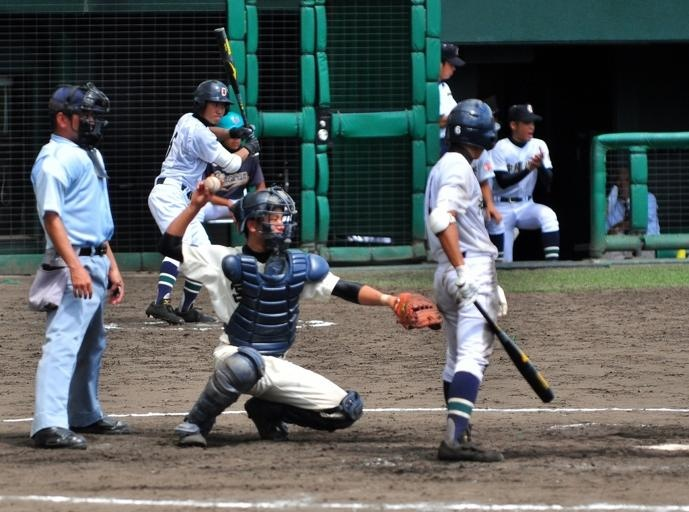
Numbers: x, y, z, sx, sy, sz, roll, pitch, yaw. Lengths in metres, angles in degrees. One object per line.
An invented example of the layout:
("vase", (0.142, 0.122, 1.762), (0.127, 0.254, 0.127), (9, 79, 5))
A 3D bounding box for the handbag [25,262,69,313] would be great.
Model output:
("handbag", (-2.179, 0.223, 9.186), (0.278, 0.353, 0.154), (3, 13, 14))

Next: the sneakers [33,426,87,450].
("sneakers", (-2.069, 1.325, 9.157), (0.361, 0.108, 0.166), (1, 3, 6))

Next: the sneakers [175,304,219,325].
("sneakers", (-1.539, 0.603, 13.124), (0.495, 0.192, 0.164), (2, 28, -21))

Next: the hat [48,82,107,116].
("hat", (-1.989, -1.198, 9.443), (0.360, 0.179, 0.248), (-2, 5, -2))

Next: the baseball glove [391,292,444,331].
("baseball glove", (0.523, 0.363, 9.360), (0.417, 0.197, 0.569), (-8, 15, -13))

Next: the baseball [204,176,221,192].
("baseball", (-0.975, -0.551, 9.311), (0.117, 0.127, 0.204), (-1, 11, -5))

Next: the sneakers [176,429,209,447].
("sneakers", (-1.124, 1.336, 9.193), (0.218, 0.112, 0.084), (-1, 12, -7))

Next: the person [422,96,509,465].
("person", (0.885, 0.135, 9.168), (0.604, 2.498, 1.240), (1, 12, 3))

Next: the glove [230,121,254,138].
("glove", (-1.098, -1.367, 13.410), (0.204, 0.109, 0.150), (-2, 7, 22))

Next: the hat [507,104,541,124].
("hat", (2.189, -1.794, 15.516), (0.417, 0.194, 0.285), (3, 9, 26))

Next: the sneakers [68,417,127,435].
("sneakers", (-1.876, 1.293, 9.603), (0.429, 0.149, 0.150), (-4, -1, 3))

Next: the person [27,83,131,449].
("person", (-1.988, 0.044, 9.306), (0.635, 2.626, 0.993), (1, 12, 6))

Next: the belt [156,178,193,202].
("belt", (-1.691, -0.681, 12.728), (0.241, 0.166, 0.330), (43, 14, 25))

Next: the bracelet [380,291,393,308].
("bracelet", (0.322, 0.320, 9.273), (0.103, 0.113, 0.174), (2, 11, 8))

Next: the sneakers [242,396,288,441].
("sneakers", (-0.579, 1.215, 9.404), (0.242, 0.389, 0.219), (-12, 34, 53))

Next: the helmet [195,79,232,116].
("helmet", (-1.346, -1.630, 12.575), (0.359, 0.255, 0.284), (7, 8, 40))

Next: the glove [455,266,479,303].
("glove", (0.866, 0.190, 8.955), (0.083, 0.240, 0.186), (-21, 8, 30))

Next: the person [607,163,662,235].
("person", (3.930, -0.769, 16.750), (0.748, 0.942, 0.877), (0, 12, -2))

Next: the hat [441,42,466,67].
("hat", (1.351, -2.563, 15.755), (0.264, 0.263, 0.334), (1, 12, 4))

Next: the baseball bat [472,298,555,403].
("baseball bat", (1.426, 0.823, 10.607), (0.150, 1.051, 0.156), (-39, -13, 2))

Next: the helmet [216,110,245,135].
("helmet", (-1.304, -1.574, 14.396), (0.294, 0.174, 0.398), (-2, 0, -18))

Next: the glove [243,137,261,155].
("glove", (-1.011, -1.219, 13.458), (0.200, 0.214, 0.251), (-5, 1, -6))

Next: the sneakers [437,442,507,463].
("sneakers", (0.900, 1.364, 8.825), (0.465, 0.150, 0.162), (0, -1, 1))
